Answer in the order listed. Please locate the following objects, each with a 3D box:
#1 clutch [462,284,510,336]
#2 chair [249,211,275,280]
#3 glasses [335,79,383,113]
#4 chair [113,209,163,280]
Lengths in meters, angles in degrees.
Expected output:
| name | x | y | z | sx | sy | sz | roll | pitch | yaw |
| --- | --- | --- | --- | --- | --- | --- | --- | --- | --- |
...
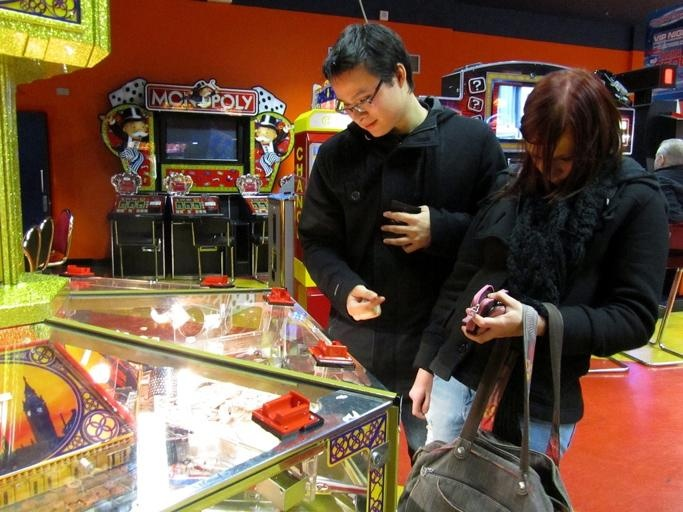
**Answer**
| name | x | y | z | sx | sy | sz | roll | pitch | yaw |
| --- | --- | --- | --- | --- | --- | --- | --- | --- | --- |
| clutch | 0.379 | 0.134 | 1.388 | 0.049 | 0.127 | 0.125 | 31 | -1 | -5 |
| chair | -1.104 | -0.122 | 6.829 | 0.250 | 0.881 | 0.356 | 1 | 11 | -12 |
| glasses | 0.066 | -0.519 | 1.630 | 0.101 | 0.029 | 0.099 | -47 | 22 | -18 |
| chair | -2.605 | -0.188 | 6.628 | 0.701 | 0.858 | 0.705 | 6 | 21 | 0 |
